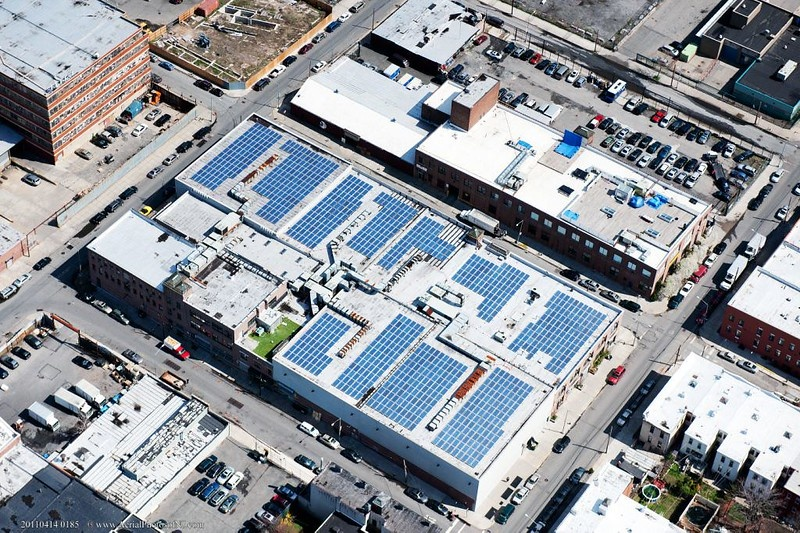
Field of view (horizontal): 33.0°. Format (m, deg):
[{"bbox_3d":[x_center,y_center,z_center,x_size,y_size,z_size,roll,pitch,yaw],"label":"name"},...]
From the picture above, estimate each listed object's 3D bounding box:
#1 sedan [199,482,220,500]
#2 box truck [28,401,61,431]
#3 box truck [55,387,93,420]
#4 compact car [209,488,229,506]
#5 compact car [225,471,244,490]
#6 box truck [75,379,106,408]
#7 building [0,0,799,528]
[{"bbox_3d":[-47.959,56.297,340.599,2.507,1.647,5.574,35,71,10],"label":"sedan"},{"bbox_3d":[-92.122,38.306,350.087,10.014,5.274,4.608,38,55,15],"label":"box truck"},{"bbox_3d":[-85.184,35.530,351.766,10.418,3.847,4.584,30,64,5],"label":"box truck"},{"bbox_3d":[-45.535,57.721,340.001,2.631,1.696,5.760,34,73,3],"label":"compact car"},{"bbox_3d":[-41.884,54.304,343.235,2.398,1.778,5.416,35,66,8],"label":"compact car"},{"bbox_3d":[-81.367,32.564,354.359,8.872,4.613,4.644,43,67,5],"label":"box truck"},{"bbox_3d":[-2.962,3.671,373.459,130.275,34.586,138.579,27,67,4],"label":"building"}]
